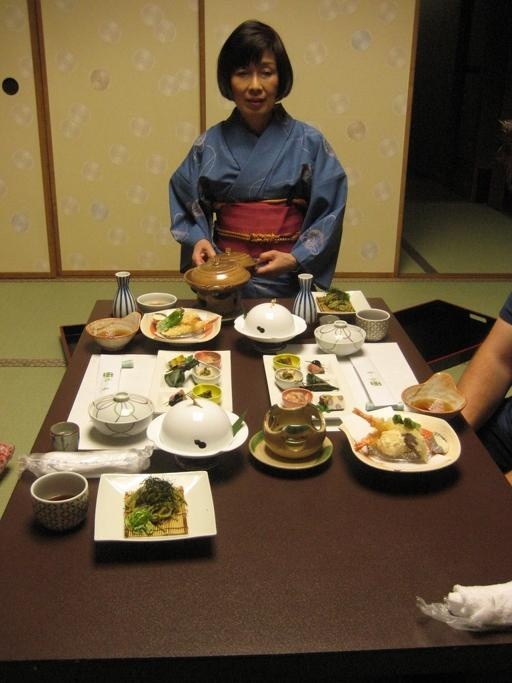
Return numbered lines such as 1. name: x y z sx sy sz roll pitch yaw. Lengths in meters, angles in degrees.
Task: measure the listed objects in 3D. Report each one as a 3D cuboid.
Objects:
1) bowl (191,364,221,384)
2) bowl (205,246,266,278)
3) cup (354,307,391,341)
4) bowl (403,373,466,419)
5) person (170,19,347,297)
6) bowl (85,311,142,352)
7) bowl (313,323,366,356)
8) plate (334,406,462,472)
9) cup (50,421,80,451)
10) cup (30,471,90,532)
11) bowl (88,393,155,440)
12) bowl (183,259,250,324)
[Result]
1. bowl: -0.145 0.093 1.507 0.066 0.032 0.069 1 18 0
2. bowl: -0.084 -0.328 2.153 0.198 0.080 0.187 0 20 0
3. cup: 0.409 -0.067 1.839 0.115 0.081 0.120 0 16 0
4. bowl: 0.467 0.149 1.356 0.141 0.067 0.172 16 25 31
5. person: -0.016 -0.848 2.490 0.831 1.155 0.547 15 29 31
6. bowl: -0.486 -0.036 1.769 0.124 0.056 0.148 2 21 8
7. bowl: 0.265 -0.009 1.677 0.132 0.081 0.125 0 27 0
8. plate: 0.328 0.226 1.157 0.185 0.051 0.173 1 23 10
9. cup: -0.425 0.211 1.162 0.061 0.054 0.068 0 7 -4
10. cup: -0.359 0.293 0.961 0.110 0.075 0.103 3 16 -1
11. bowl: -0.321 0.151 1.213 0.121 0.073 0.122 2 18 -1
12. bowl: -0.131 -0.238 2.012 0.245 0.226 0.302 -2 32 -1
